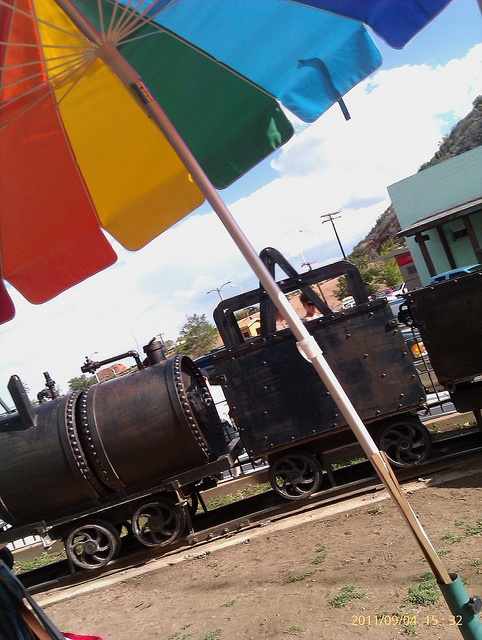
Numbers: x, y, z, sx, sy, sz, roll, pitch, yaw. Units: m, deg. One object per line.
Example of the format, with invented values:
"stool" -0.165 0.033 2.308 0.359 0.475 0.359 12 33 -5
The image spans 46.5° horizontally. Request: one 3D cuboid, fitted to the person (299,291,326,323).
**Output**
"person" 0.852 -0.188 7.176 0.182 0.392 0.837 -25 -2 7
